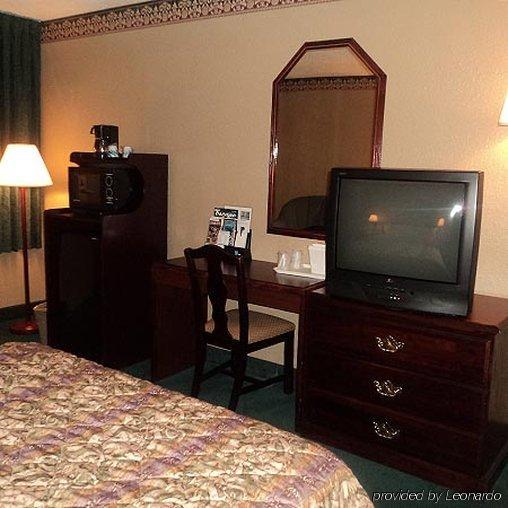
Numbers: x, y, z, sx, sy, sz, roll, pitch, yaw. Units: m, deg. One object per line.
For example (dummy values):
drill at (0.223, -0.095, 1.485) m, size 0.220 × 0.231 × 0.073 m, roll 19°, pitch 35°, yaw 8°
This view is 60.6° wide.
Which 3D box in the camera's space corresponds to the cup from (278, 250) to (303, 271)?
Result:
cup at (0.221, 0.036, 2.730) m, size 0.135 × 0.143 × 0.109 m, roll -2°, pitch 7°, yaw -13°

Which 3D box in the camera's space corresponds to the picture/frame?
picture/frame at (0.438, -0.715, 2.804) m, size 0.721 × 1.228 × 0.037 m, roll 8°, pitch 9°, yaw 29°

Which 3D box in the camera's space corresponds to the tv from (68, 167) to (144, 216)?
tv at (-1.135, -0.499, 3.237) m, size 0.450 × 0.330 × 0.265 m, roll 3°, pitch 6°, yaw 25°

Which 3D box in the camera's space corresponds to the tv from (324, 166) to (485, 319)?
tv at (0.738, -0.131, 2.229) m, size 0.701 × 0.700 × 0.440 m, roll 6°, pitch 23°, yaw 25°

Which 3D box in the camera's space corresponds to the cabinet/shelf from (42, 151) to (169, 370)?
cabinet/shelf at (-1.167, -0.011, 3.340) m, size 0.658 × 1.473 × 0.681 m, roll 6°, pitch 12°, yaw 20°

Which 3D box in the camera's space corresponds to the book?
book at (-0.156, -0.146, 2.888) m, size 0.309 × 0.380 × 0.120 m, roll 13°, pitch 10°, yaw 24°
